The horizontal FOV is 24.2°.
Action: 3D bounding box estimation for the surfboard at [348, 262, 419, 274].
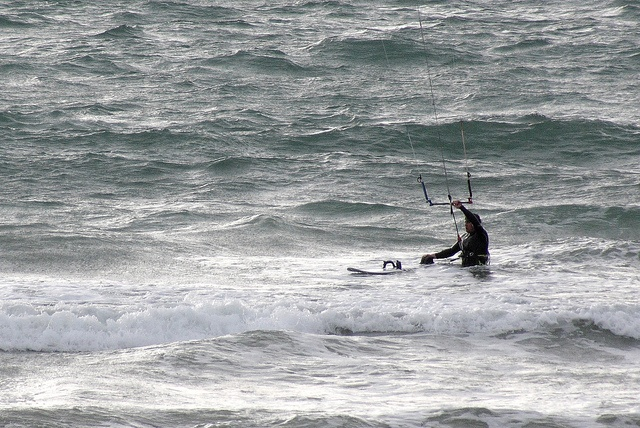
[{"bbox_3d":[2.468,2.003,55.523,3.112,0.399,0.383,-3,-3,-9],"label":"surfboard"}]
